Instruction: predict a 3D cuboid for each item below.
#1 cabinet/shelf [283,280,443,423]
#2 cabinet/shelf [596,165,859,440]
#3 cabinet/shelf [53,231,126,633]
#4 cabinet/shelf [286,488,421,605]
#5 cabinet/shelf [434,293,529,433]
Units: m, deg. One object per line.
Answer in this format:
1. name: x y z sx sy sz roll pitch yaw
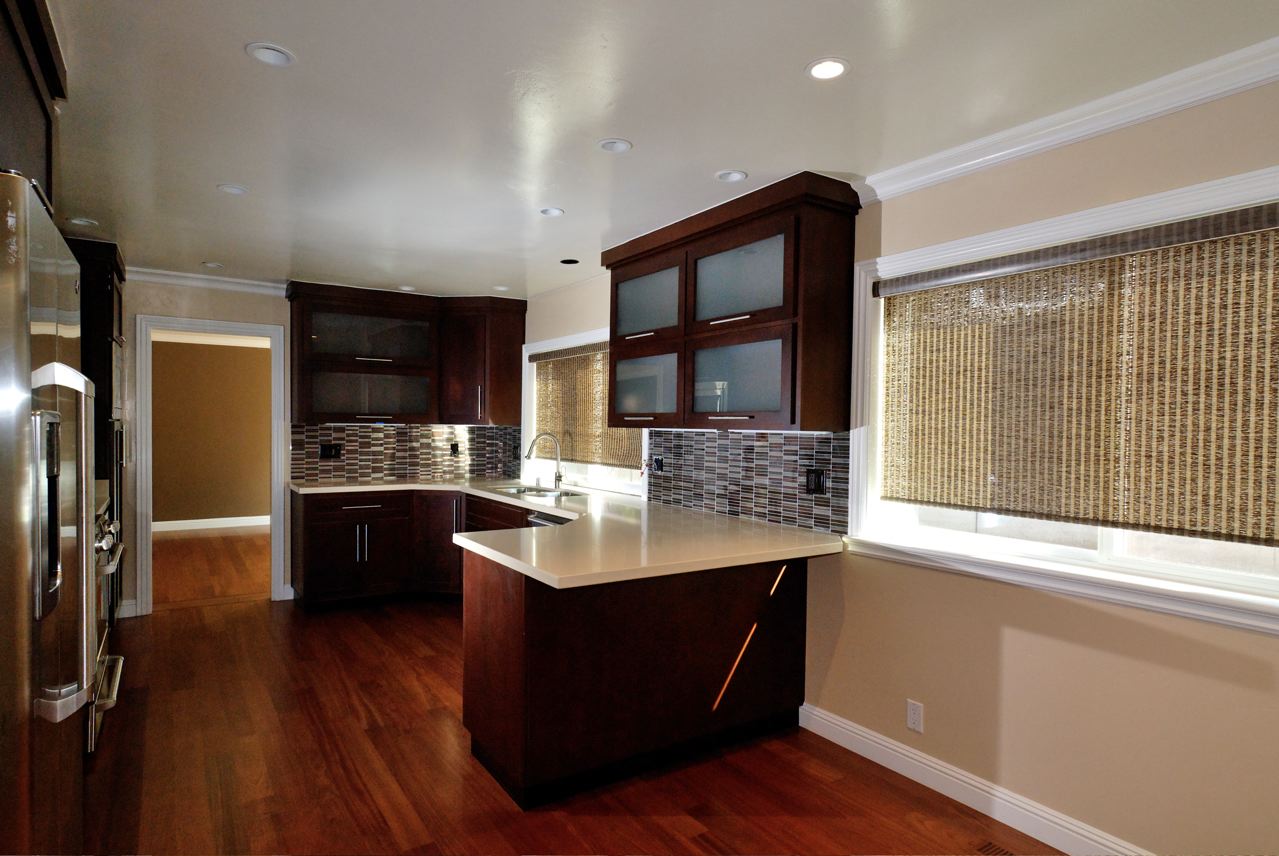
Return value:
1. cabinet/shelf: -2.171 -0.528 6.757 1.125 1.011 0.429 0 0 -35
2. cabinet/shelf: 0.458 -0.546 4.830 0.590 1.178 1.649 1 -2 -37
3. cabinet/shelf: -3.383 0.062 5.403 0.471 2.620 0.648 1 -5 -31
4. cabinet/shelf: -1.973 0.877 6.667 0.976 0.895 0.638 -5 -5 20
5. cabinet/shelf: -1.318 -0.509 7.041 0.661 0.988 0.548 2 8 12
